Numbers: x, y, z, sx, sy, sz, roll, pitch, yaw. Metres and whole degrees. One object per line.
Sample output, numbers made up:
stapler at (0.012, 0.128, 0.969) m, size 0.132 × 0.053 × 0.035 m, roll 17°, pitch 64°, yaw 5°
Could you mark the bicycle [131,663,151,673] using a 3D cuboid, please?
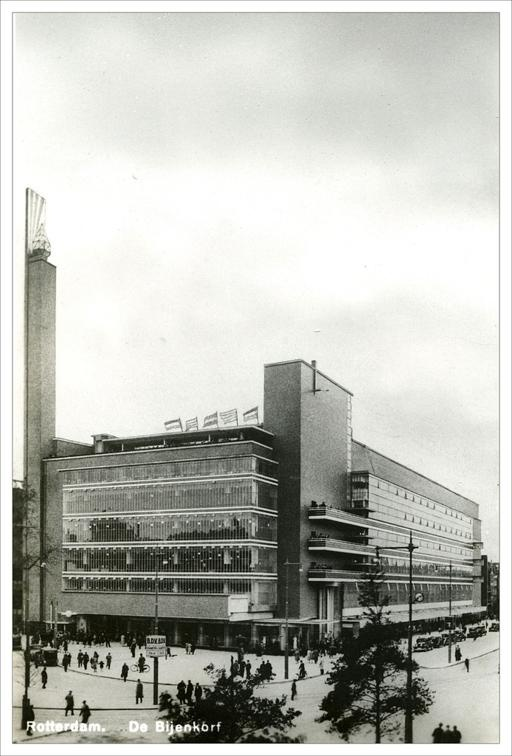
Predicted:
bicycle at (-6.395, 15.978, 74.978) m, size 1.026 × 0.834 × 0.594 m, roll 1°, pitch -8°, yaw 13°
